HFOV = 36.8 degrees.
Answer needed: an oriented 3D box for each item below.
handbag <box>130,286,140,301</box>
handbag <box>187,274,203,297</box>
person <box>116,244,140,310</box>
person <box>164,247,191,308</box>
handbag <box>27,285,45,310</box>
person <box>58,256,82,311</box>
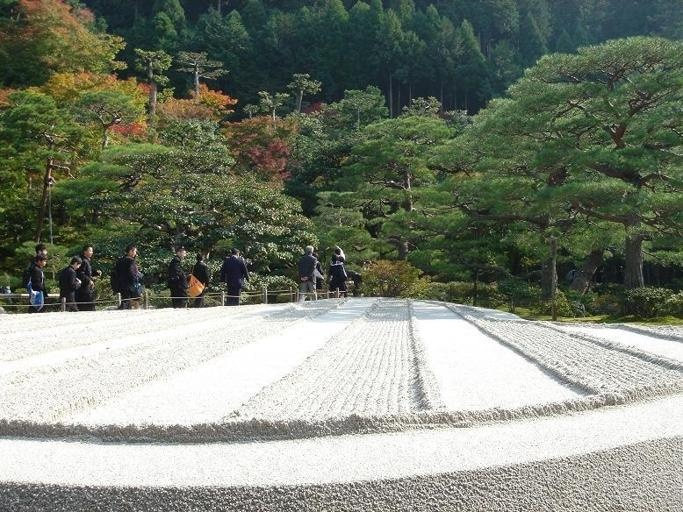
[{"bbox_3d":[-6.803,1.240,33.563,0.295,0.479,0.403,-18,-19,40],"label":"handbag"},{"bbox_3d":[-4.862,0.992,34.028,0.339,0.630,0.447,-36,5,43],"label":"handbag"},{"bbox_3d":[-7.017,0.687,33.591,0.752,1.985,0.646,-1,0,-13],"label":"person"},{"bbox_3d":[-5.454,0.705,34.124,0.617,1.930,0.928,-1,0,-9],"label":"person"},{"bbox_3d":[-9.872,1.373,33.112,0.489,0.725,0.501,-1,0,-16],"label":"handbag"},{"bbox_3d":[-8.780,0.879,33.012,0.737,1.672,0.702,-1,0,-34],"label":"person"}]
